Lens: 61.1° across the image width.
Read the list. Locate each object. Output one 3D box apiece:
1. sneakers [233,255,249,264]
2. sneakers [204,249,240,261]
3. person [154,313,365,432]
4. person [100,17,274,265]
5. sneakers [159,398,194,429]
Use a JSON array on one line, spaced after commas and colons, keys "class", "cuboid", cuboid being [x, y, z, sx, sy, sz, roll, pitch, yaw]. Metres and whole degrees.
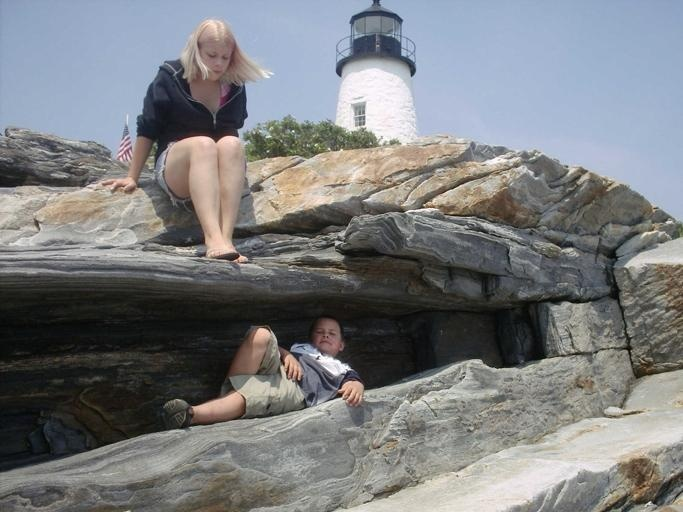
[{"class": "sneakers", "cuboid": [-0.922, 0.025, 5.284, 0.082, 0.042, 0.120, 5, -7, -14]}, {"class": "sneakers", "cuboid": [-1.039, -0.011, 5.120, 0.265, 0.056, 0.108, 0, 3, 8]}, {"class": "person", "cuboid": [-0.643, 0.915, 5.093, 1.362, 0.506, 1.050, 2, 4, -44]}, {"class": "person", "cuboid": [-1.363, -1.011, 5.628, 1.342, 2.303, 0.749, -20, -22, 36]}, {"class": "sneakers", "cuboid": [-1.321, 1.265, 4.648, 0.262, 0.229, 0.217, -3, -17, -10]}]
